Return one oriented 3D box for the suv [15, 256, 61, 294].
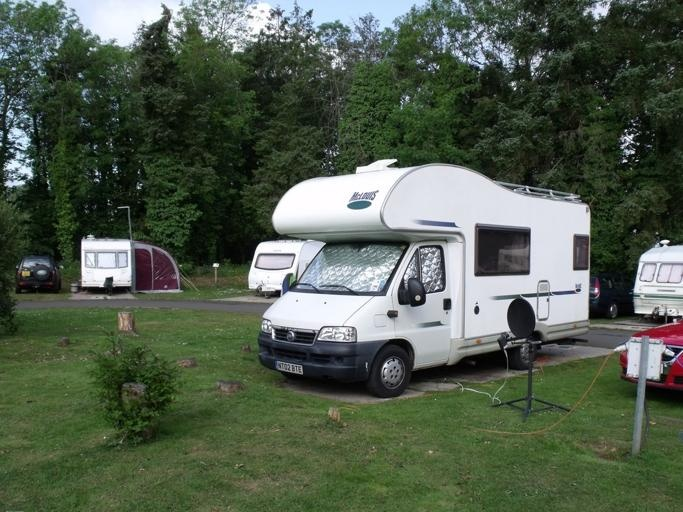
[{"bbox_3d":[-14.871,1.008,28.233,1.445,1.483,3.054,0,4,-14],"label":"suv"}]
